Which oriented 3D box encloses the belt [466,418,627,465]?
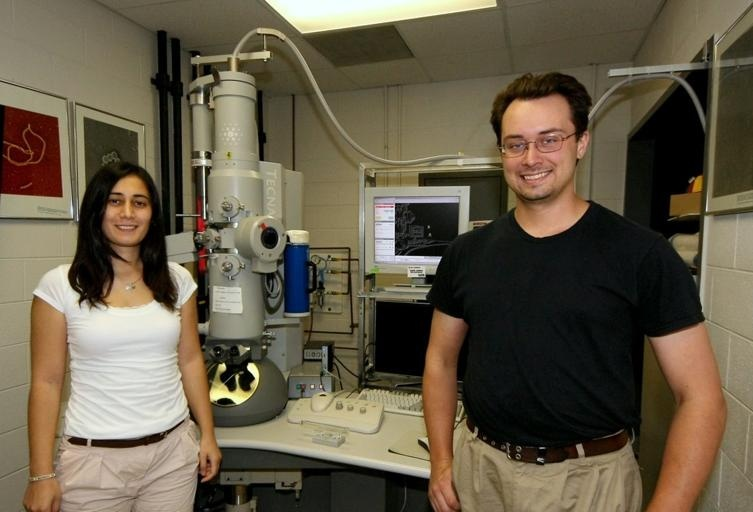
[{"bbox_3d":[0.608,0.678,2.049,0.546,0.120,0.102,2,3,13],"label":"belt"}]

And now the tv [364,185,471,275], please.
[{"bbox_3d":[0.227,-0.154,3.077,0.492,0.423,0.052,1,3,6],"label":"tv"}]
